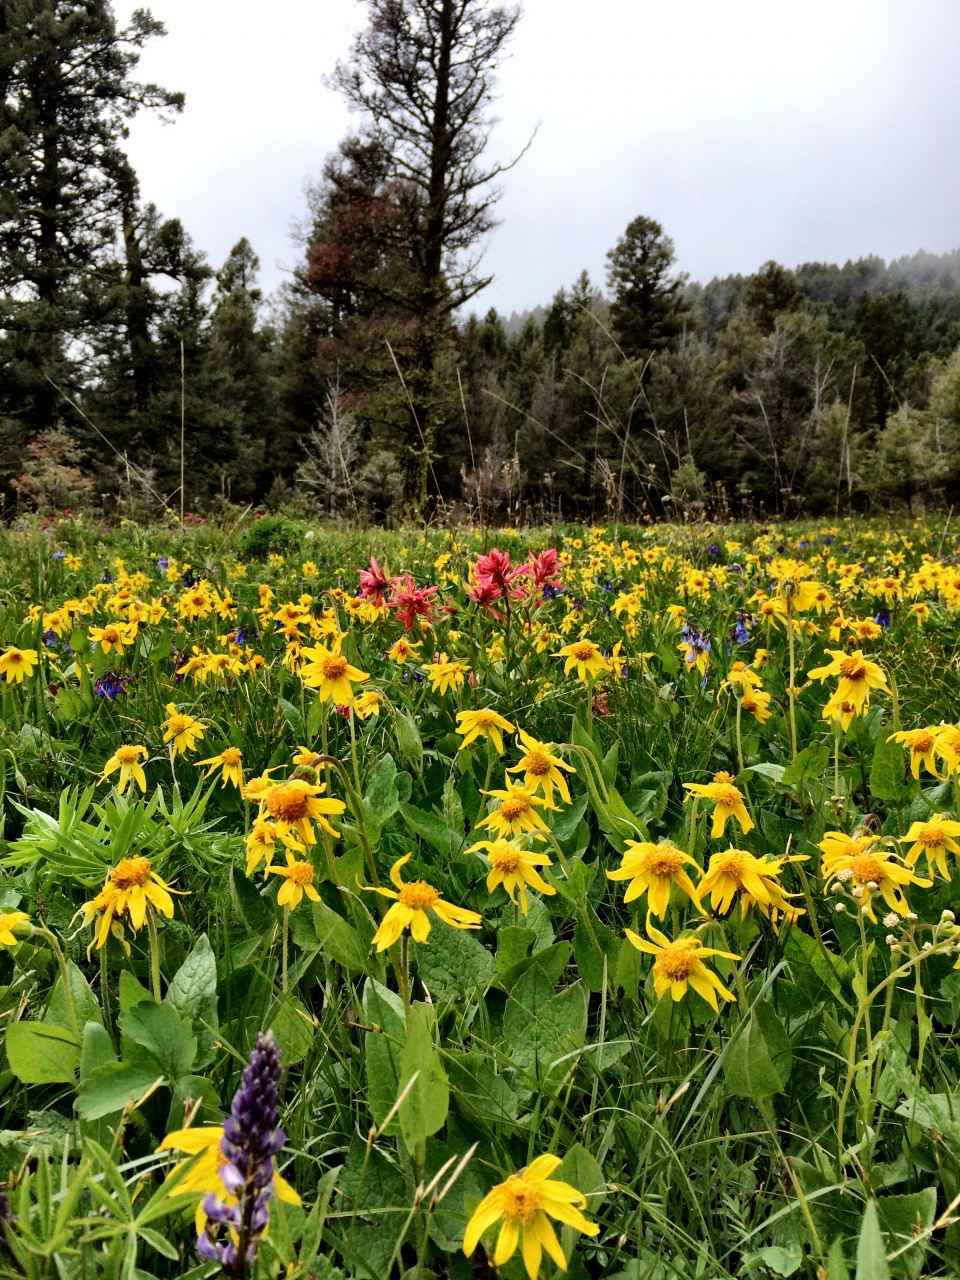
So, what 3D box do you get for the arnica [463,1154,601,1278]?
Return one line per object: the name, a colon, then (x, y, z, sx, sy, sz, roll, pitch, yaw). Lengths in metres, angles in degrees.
arnica: (0.031, 0.394, 0.624, 0.079, 0.086, 0.104, 0, 4, 0)
